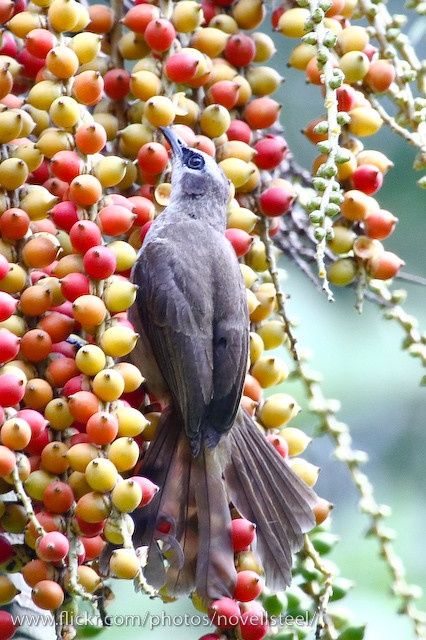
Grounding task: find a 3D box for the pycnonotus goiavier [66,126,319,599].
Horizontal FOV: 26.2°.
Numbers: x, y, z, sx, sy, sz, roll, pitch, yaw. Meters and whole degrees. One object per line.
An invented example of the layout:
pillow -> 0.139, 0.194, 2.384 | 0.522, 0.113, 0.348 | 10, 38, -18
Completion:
pycnonotus goiavier -> -0.003, 0.070, 1.612 | 0.344, 0.696, 0.349 | 13, -25, -36
